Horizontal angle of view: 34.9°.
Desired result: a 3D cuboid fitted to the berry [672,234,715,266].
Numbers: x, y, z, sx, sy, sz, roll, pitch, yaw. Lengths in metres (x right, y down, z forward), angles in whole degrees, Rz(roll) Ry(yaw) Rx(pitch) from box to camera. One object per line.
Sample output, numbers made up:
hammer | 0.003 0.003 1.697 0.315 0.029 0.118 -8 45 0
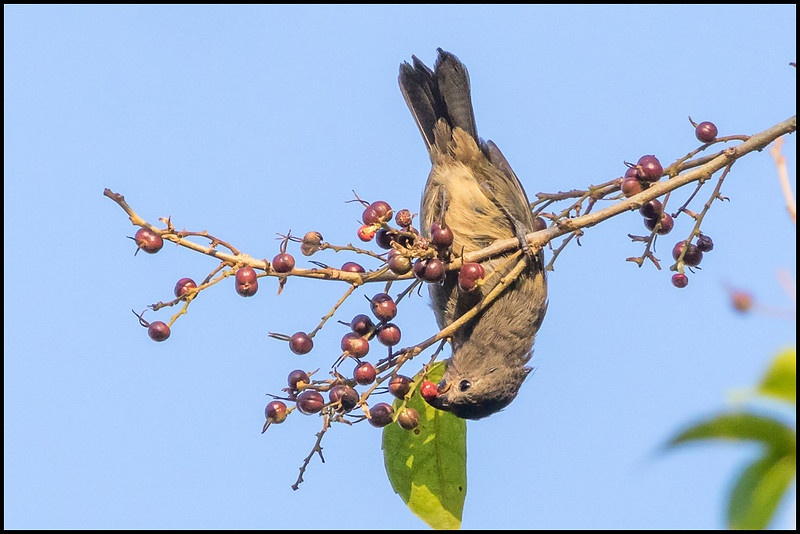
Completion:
berry | 1.846 -0.098 8.053 0.206 0.248 0.114 41 -31 -1

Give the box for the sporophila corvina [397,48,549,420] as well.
sporophila corvina | 0.550 -0.237 9.682 0.909 1.219 3.101 -5 -71 0
